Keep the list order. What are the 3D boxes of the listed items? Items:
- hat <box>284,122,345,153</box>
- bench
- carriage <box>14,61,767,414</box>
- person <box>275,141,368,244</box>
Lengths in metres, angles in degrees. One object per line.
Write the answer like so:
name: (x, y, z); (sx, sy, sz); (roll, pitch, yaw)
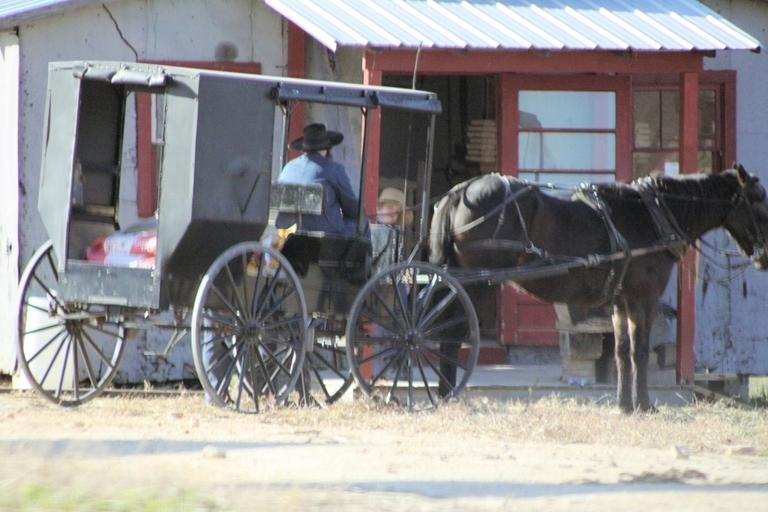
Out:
hat: (-0.701, -1.371, 19.029); (0.425, 0.147, 0.402); (0, 31, 34)
bench: (-0.662, -0.476, 18.576); (0.603, 1.099, 1.006); (3, -14, 15)
carriage: (0.359, -0.279, 20.465); (10.855, 5.173, 3.504); (-3, 4, -28)
person: (-0.711, -0.614, 19.056); (0.883, 1.238, 0.924); (-2, 0, 40)
